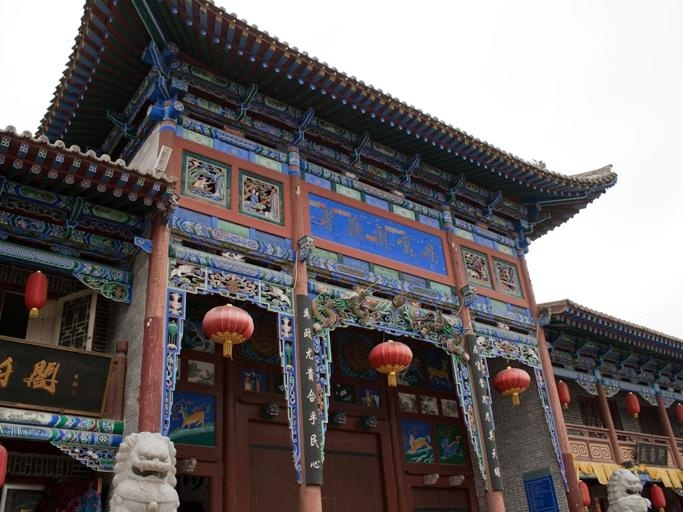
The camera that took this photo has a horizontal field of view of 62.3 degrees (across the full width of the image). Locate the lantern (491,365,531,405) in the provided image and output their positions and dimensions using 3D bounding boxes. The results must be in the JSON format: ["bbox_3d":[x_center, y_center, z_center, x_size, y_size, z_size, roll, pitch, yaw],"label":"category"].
[{"bbox_3d":[3.559,2.733,11.950,0.466,0.752,0.612,20,-38,-30],"label":"lantern"}]

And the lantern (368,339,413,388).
[{"bbox_3d":[0.838,1.941,10.518,1.063,0.954,0.900,3,-29,-5],"label":"lantern"}]

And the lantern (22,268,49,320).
[{"bbox_3d":[-4.547,0.498,8.405,0.311,0.810,0.477,17,-37,-25],"label":"lantern"}]

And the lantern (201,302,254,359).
[{"bbox_3d":[-1.760,1.165,8.966,0.991,0.855,0.832,1,-34,-5],"label":"lantern"}]
